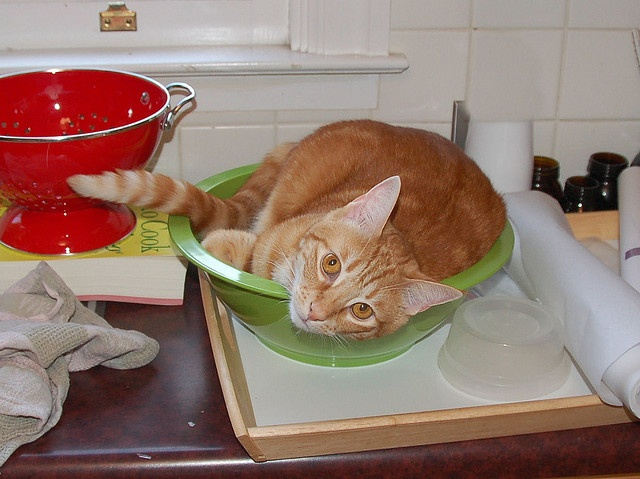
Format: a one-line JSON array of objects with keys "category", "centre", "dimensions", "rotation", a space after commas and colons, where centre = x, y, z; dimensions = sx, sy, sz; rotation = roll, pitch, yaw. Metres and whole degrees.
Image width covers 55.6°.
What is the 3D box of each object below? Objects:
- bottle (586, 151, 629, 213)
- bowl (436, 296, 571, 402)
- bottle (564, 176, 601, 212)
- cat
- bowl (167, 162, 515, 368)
[{"category": "bottle", "centre": [0.604, -0.104, 1.308], "dimensions": [0.089, 0.129, 0.090], "rotation": [2, 14, -1]}, {"category": "bowl", "centre": [0.291, 0.158, 0.947], "dimensions": [0.212, 0.088, 0.213], "rotation": [1, 20, 0]}, {"category": "bottle", "centre": [0.541, -0.090, 1.257], "dimensions": [0.076, 0.063, 0.096], "rotation": [16, 27, 31]}, {"category": "cat", "centre": [0.050, -0.045, 0.965], "dimensions": [0.523, 0.196, 0.377], "rotation": [-6, 52, -16]}, {"category": "bowl", "centre": [0.004, 0.061, 0.940], "dimensions": [0.535, 0.216, 0.345], "rotation": [10, 24, 19]}]
